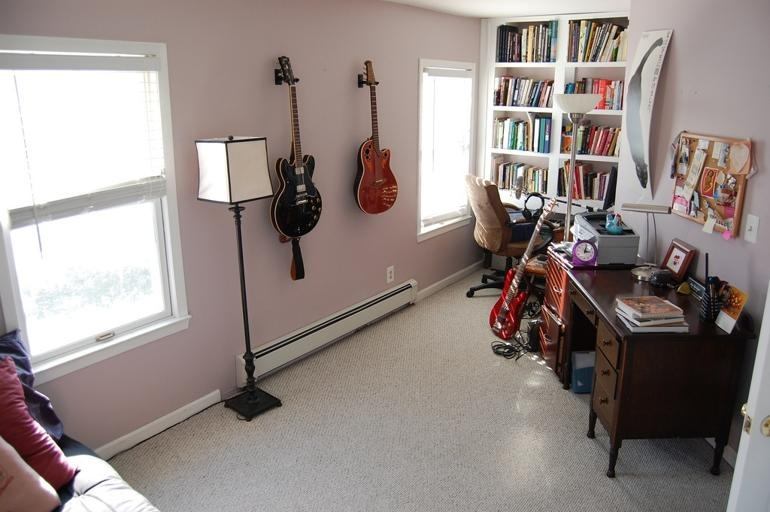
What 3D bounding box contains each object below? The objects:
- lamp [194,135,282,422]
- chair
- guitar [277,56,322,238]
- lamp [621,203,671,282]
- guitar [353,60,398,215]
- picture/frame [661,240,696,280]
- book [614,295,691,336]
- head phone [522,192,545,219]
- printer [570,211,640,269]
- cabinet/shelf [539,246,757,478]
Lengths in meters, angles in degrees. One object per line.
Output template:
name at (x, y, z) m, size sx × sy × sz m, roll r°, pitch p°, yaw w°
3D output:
lamp at (-1.008, 0.151, 3.969) m, size 0.494 × 1.997 × 0.515 m, roll -9°, pitch 20°, yaw -24°
chair at (1.290, -0.247, 5.583) m, size 0.707 × 1.195 × 0.802 m, roll -11°, pitch 25°, yaw -12°
guitar at (-0.750, -0.819, 4.256) m, size 0.424 × 1.368 × 0.304 m, roll -12°, pitch 21°, yaw -30°
lamp at (1.915, -0.090, 4.038) m, size 0.263 × 0.683 × 0.358 m, roll -12°, pitch 20°, yaw -23°
guitar at (-0.134, -1.019, 4.790) m, size 0.256 × 1.275 × 0.416 m, roll 15°, pitch 24°, yaw 40°
picture/frame at (2.040, 0.032, 3.823) m, size 0.032 × 0.252 × 0.185 m, roll 2°, pitch 24°, yaw -23°
book at (1.640, 0.358, 3.395) m, size 0.417 × 0.125 × 0.319 m, roll 7°, pitch 21°, yaw 20°
head phone at (1.558, -0.524, 5.807) m, size 0.138 × 0.374 × 0.221 m, roll -14°, pitch 19°, yaw -43°
printer at (1.642, -0.142, 4.146) m, size 0.409 × 0.288 × 0.425 m, roll -8°, pitch 24°, yaw -7°
cabinet/shelf at (1.802, 0.748, 3.792) m, size 0.865 × 1.079 × 0.977 m, roll -2°, pitch 19°, yaw -4°
